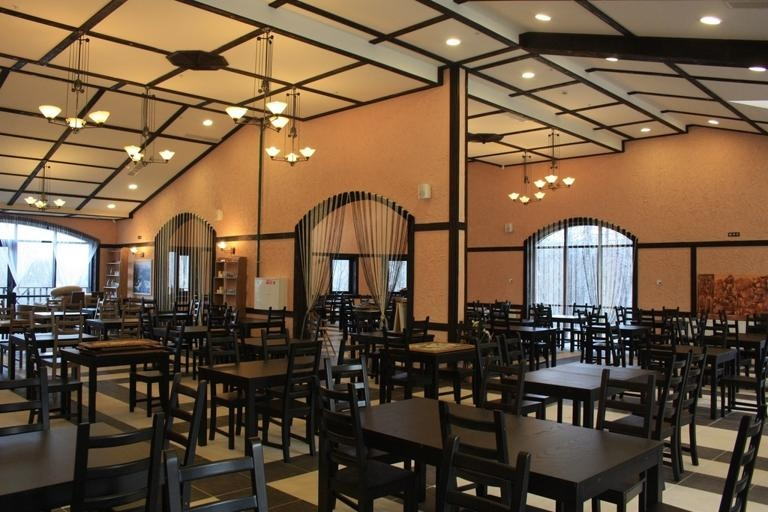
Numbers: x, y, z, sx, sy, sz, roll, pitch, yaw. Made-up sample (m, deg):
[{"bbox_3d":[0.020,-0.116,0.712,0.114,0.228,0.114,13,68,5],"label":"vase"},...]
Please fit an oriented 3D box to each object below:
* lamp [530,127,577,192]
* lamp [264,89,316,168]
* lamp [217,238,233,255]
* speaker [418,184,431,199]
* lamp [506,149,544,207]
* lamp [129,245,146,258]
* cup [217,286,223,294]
[{"bbox_3d":[4.724,-2.295,16.256,1.136,1.376,3.076,-2,-4,16],"label":"lamp"},{"bbox_3d":[-2.053,-2.937,13.197,1.342,1.684,1.310,-5,11,-38],"label":"lamp"},{"bbox_3d":[-4.423,-0.242,16.205,0.333,0.307,0.595,0,-3,22],"label":"lamp"},{"bbox_3d":[0.792,-1.256,11.470,0.193,0.310,0.311,8,-9,-43],"label":"speaker"},{"bbox_3d":[4.327,-2.334,17.848,1.241,1.490,1.128,-8,15,-17],"label":"lamp"},{"bbox_3d":[-8.696,-0.144,20.526,0.504,0.410,0.159,-5,-8,34],"label":"lamp"},{"bbox_3d":[-4.560,0.961,16.153,0.181,0.214,0.243,-1,-5,8],"label":"cup"}]
